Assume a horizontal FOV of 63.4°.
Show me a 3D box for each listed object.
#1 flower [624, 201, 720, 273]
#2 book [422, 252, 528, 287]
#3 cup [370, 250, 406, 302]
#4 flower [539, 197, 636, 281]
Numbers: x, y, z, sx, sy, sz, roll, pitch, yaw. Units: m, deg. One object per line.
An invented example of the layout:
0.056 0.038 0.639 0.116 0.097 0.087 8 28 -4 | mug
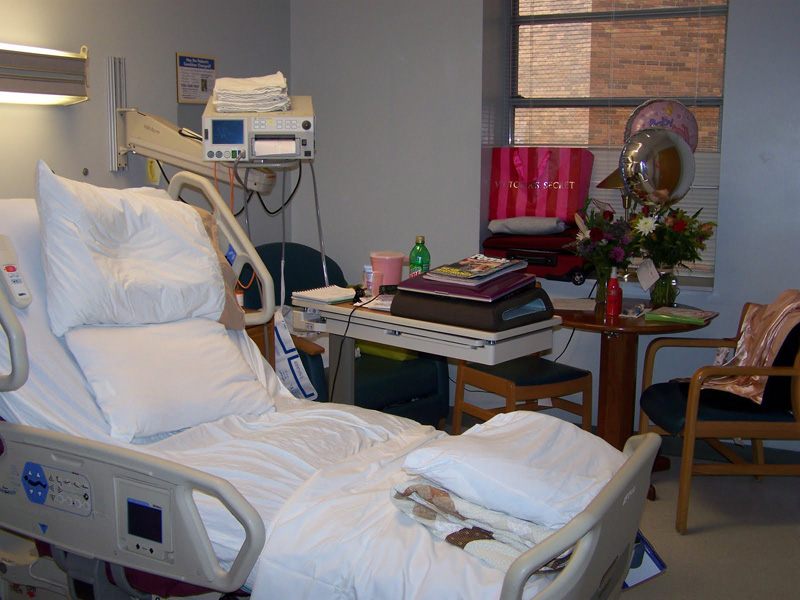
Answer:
1.431 -0.310 3.350 0.356 0.298 0.401 9 16 32 | flower
0.347 -0.135 2.856 0.246 0.058 0.267 4 21 40 | book
-0.049 -0.134 3.079 0.192 0.202 0.158 -1 1 -30 | cup
1.054 -0.274 3.560 0.506 0.434 0.491 -33 30 -35 | flower
